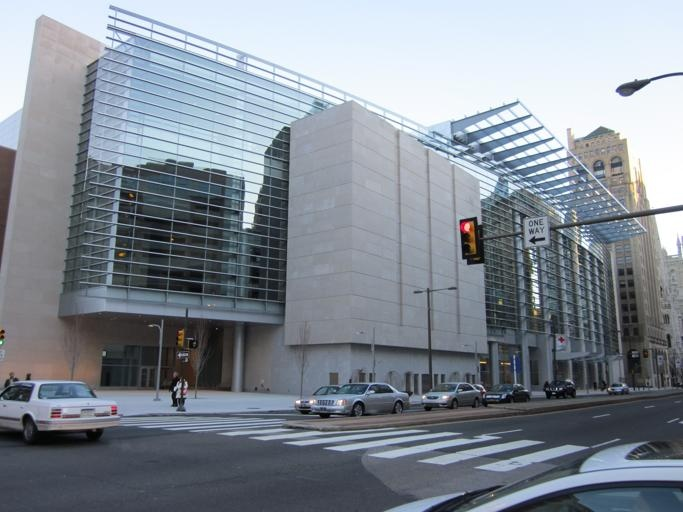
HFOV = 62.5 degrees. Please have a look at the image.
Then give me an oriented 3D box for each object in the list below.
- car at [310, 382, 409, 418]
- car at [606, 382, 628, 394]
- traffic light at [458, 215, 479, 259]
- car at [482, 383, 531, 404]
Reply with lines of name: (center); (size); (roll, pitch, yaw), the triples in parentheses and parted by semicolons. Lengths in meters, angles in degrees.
car: (1.143, 6.649, 25.968); (4.279, 1.404, 1.946); (9, -17, -42)
car: (32.401, 15.563, 65.707); (2.958, 1.109, 1.131); (10, -18, -43)
traffic light: (3.809, -0.540, 16.588); (0.545, 1.426, 1.024); (-5, -14, 11)
car: (11.405, 9.576, 38.912); (2.126, 1.168, 4.400); (-9, -14, 33)
